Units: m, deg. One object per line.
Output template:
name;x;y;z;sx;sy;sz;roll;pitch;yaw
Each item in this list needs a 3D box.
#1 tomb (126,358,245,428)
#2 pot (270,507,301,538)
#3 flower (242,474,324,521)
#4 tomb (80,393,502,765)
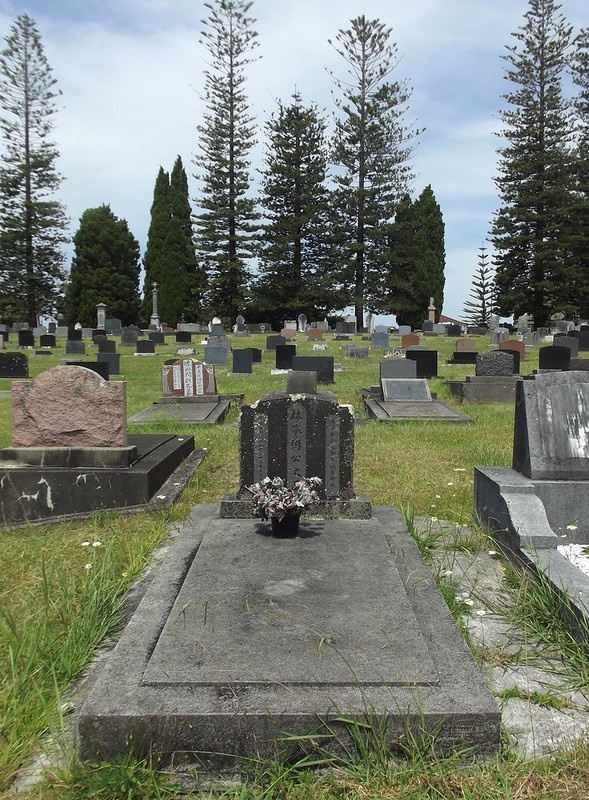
tomb;-1.849;-0.119;11.569;1.305;0.674;1.807;0;4;-1
pot;-0.047;0.678;3.651;0.162;0.123;0.165;-1;-2;0
flower;-0.070;0.538;3.724;0.345;0.249;0.323;-5;-1;-11
tomb;-0.055;0.826;3.410;1.132;0.778;2.264;-1;1;2
